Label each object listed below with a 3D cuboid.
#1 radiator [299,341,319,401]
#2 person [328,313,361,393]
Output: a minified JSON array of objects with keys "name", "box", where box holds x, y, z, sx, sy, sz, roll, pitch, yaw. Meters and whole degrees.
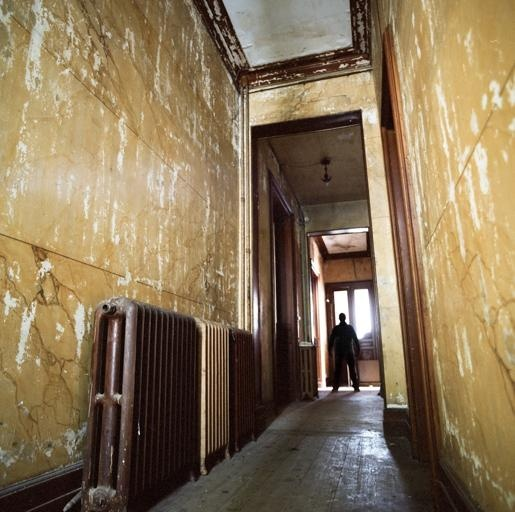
[{"name":"radiator","box":[0.802,1.784,6.232,0.271,0.861,0.715,-2,-11,7]},{"name":"person","box":[1.666,1.781,7.625,0.490,1.733,0.363,0,23,16]}]
